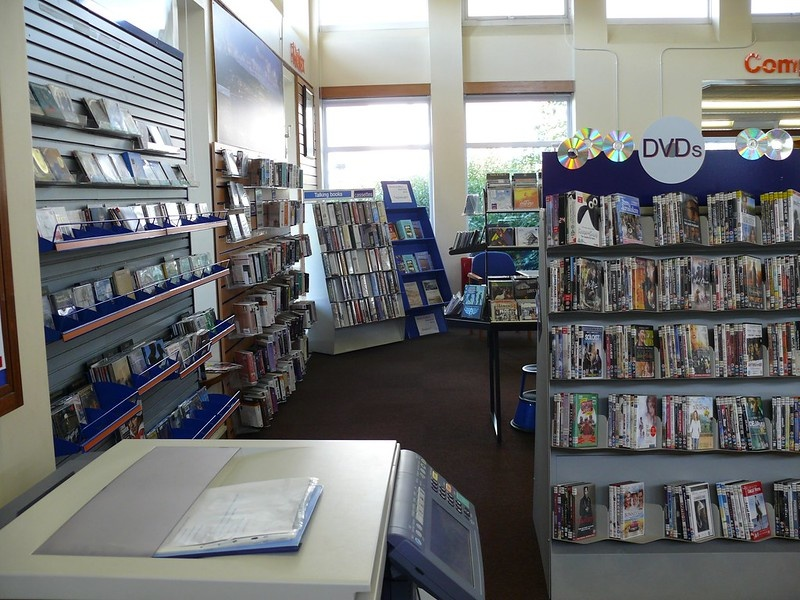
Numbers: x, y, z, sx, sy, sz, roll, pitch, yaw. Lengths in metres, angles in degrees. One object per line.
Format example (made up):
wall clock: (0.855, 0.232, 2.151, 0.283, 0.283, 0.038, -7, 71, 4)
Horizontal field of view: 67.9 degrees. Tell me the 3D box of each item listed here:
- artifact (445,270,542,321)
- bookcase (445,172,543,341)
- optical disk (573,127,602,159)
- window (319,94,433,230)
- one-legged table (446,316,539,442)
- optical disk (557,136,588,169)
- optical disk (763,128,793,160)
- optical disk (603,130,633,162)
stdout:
artifact: (0.806, 0.000, 5.080, 0.485, 0.227, 0.524, -2, 6, -12)
bookcase: (1.142, -0.577, 6.025, 1.293, 1.232, 0.760, -3, 3, 13)
optical disk: (1.007, -0.861, 3.208, 0.145, 0.165, 0.037, 0, 6, -9)
window: (-0.375, -2.250, 9.295, 2.297, 2.611, 0.114, 0, 13, 1)
one-legged table: (0.817, 0.601, 5.025, 0.461, 0.955, 0.815, -8, 13, -19)
optical disk: (0.921, -0.788, 3.161, 0.150, 0.164, 0.037, -15, 8, -14)
optical disk: (2.011, -0.847, 3.176, 0.150, 0.159, 0.036, -3, 17, 20)
optical disk: (1.159, -0.819, 3.132, 0.140, 0.156, 0.035, -24, 13, -5)
